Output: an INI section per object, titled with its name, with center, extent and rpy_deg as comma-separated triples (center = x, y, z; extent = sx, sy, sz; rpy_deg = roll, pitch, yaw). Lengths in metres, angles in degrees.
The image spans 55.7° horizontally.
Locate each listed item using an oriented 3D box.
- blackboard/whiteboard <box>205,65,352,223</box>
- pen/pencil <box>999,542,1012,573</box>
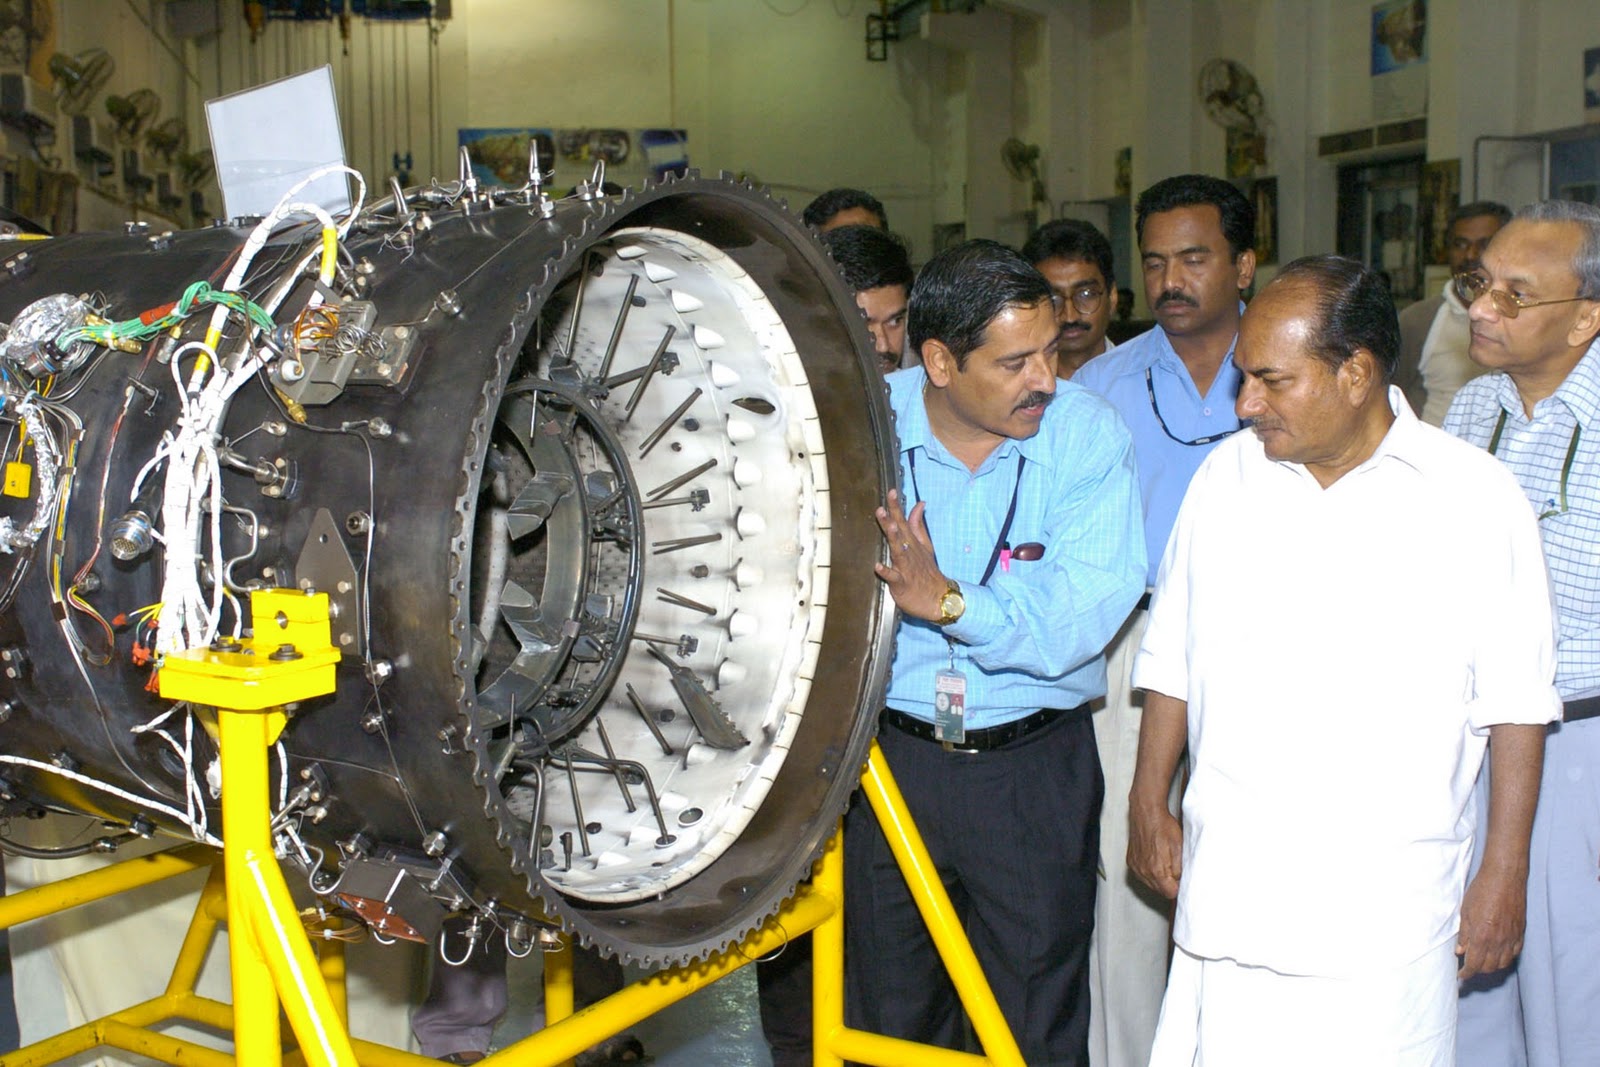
[blackboard/whiteboard]
center = -0.827, -0.593, 2.396
extent = 0.215, 0.216, 0.012
rpy_deg = -7, 6, 8
[pen/pencil]
center = 0.386, 0.049, 2.871
extent = 0.024, 0.048, 0.024
rpy_deg = -3, 8, -1
